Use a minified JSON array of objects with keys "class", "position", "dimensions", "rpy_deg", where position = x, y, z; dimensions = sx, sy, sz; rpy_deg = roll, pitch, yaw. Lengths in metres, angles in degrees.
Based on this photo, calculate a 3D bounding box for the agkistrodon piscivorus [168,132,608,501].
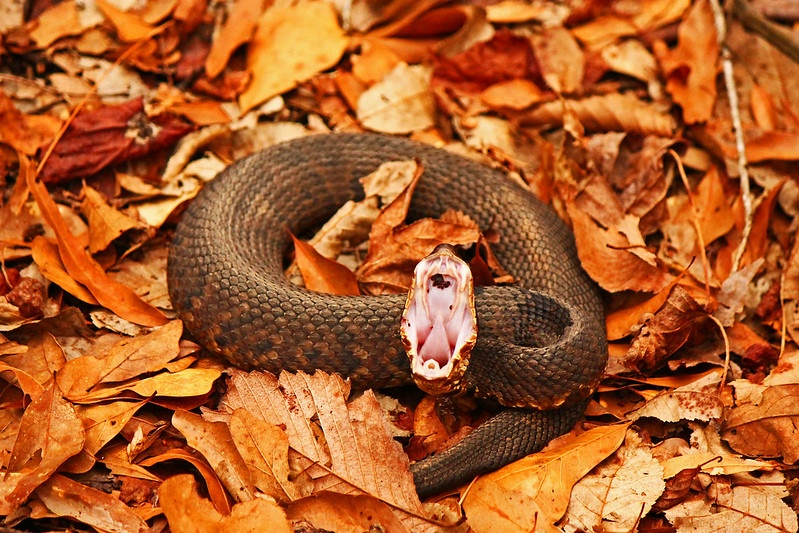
[{"class":"agkistrodon piscivorus","position":[-0.026,0.174,5.711],"dimensions":[3.111,1.130,2.196],"rpy_deg":[22,84,3]}]
